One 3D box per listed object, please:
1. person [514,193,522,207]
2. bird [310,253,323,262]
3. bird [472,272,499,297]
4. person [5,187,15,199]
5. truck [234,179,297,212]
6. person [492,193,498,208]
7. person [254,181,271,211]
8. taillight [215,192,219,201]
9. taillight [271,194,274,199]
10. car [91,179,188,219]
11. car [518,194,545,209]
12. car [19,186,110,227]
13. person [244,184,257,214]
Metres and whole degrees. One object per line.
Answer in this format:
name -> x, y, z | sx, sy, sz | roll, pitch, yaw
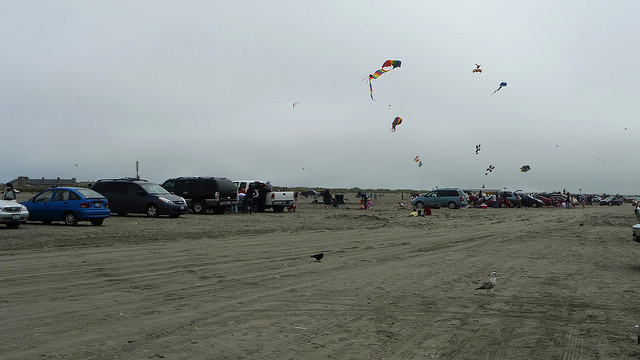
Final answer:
person -> 24.130, 2.439, 55.394 | 0.370, 1.753, 0.508 | -12, -5, -41
bird -> -0.080, 2.448, 14.789 | 0.308, 0.228, 0.664 | 1, 4, -5
bird -> 4.070, 2.528, 11.195 | 0.429, 0.426, 0.553 | 3, 5, 27
person -> -15.972, 0.681, 23.455 | 0.358, 0.587, 1.012 | -2, 5, -32
truck -> -5.375, 1.477, 36.142 | 5.825, 1.800, 3.033 | 7, 4, 32
person -> 20.121, 2.398, 52.314 | 0.579, 1.364, 1.091 | 3, 5, 19
person -> -4.567, 1.143, 35.647 | 1.121, 1.891, 1.260 | 1, -1, 12
taillight -> -7.079, 1.116, 31.426 | 0.273, 0.576, 0.121 | -2, 6, -38
taillight -> -3.655, 1.253, 35.276 | 0.253, 0.335, 0.159 | 2, 5, 10
car -> -10.859, 1.185, 26.942 | 5.726, 1.808, 2.587 | 1, 1, 12
car -> 25.816, 2.508, 55.866 | 2.460, 1.021, 1.404 | -3, 1, 8
car -> -12.417, 1.265, 22.452 | 3.595, 1.793, 0.836 | 1, 5, 7
person -> -5.271, 1.333, 34.615 | 0.528, 2.023, 1.590 | 2, 4, 4
